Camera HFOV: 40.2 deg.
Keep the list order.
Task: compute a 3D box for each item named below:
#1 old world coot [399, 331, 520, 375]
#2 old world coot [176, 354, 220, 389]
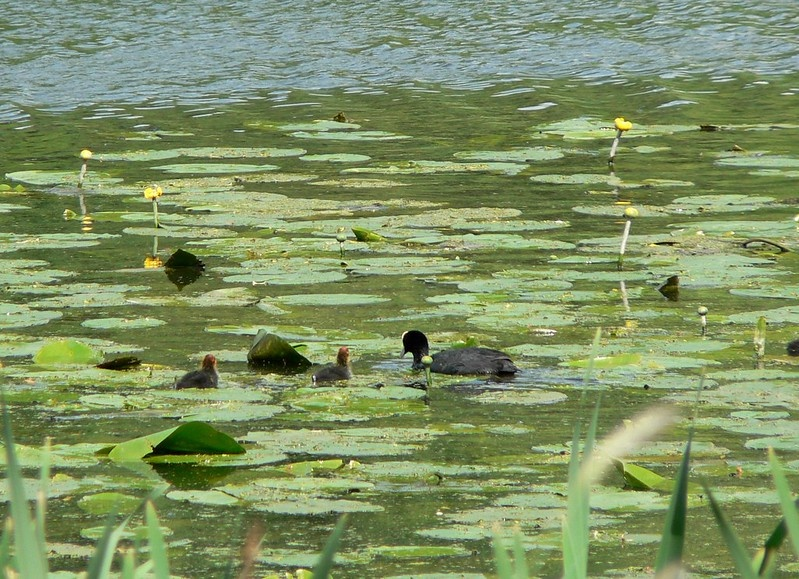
[{"bbox_3d":[0.489,0.578,9.042,1.062,0.291,0.333,3,1,18],"label":"old world coot"},{"bbox_3d":[-1.572,0.645,8.442,0.347,0.246,0.282,-7,17,-9],"label":"old world coot"}]
